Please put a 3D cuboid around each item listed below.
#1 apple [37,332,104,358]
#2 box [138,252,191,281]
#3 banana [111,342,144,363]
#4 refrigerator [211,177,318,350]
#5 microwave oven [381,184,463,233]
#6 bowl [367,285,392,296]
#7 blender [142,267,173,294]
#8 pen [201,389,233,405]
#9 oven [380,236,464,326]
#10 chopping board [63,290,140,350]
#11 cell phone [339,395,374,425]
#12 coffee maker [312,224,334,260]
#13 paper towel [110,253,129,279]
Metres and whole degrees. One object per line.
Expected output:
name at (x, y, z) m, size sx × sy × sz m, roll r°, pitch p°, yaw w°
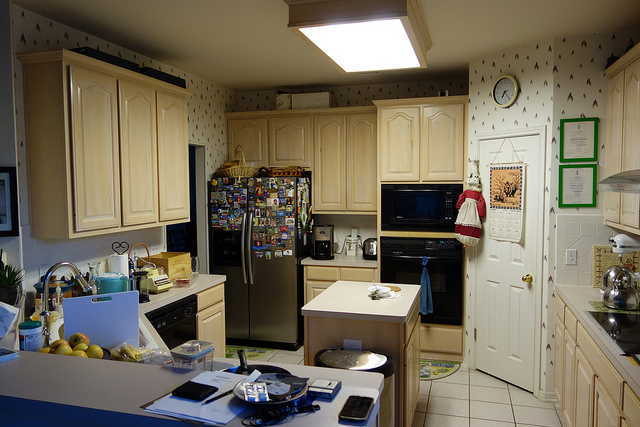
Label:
apple at (-1.425, 0.772, 2.568) m, size 0.196 × 0.088 × 0.202 m, roll 5°, pitch 0°, yaw 7°
box at (-1.554, 0.493, 4.463) m, size 0.294 × 0.195 × 0.316 m, roll 2°, pitch 4°, yaw 15°
banana at (-1.130, 0.813, 2.580) m, size 0.099 × 0.045 × 0.129 m, roll 9°, pitch -4°, yaw -8°
refrigerator at (-0.690, 0.596, 5.928) m, size 1.177 × 2.341 × 1.047 m, roll 0°, pitch 2°, yaw 16°
microwave oven at (1.229, -0.065, 5.563) m, size 0.814 × 0.610 × 0.741 m, roll 0°, pitch 3°, yaw 12°
bowl at (0.539, 0.686, 4.017) m, size 0.217 × 0.052 × 0.340 m, roll 1°, pitch 5°, yaw 11°
blender at (-1.570, 0.616, 4.166) m, size 0.281 × 0.238 × 0.223 m, roll 3°, pitch 4°, yaw 26°
pen at (-0.515, 0.904, 2.178) m, size 0.019 × 0.021 × 0.175 m, roll 8°, pitch 17°, yaw 40°
oven at (1.293, 0.725, 5.557) m, size 0.969 × 0.966 × 0.802 m, roll 3°, pitch 6°, yaw 13°
chopping board at (-1.337, 0.657, 2.696) m, size 0.416 × 0.345 × 0.150 m, roll -3°, pitch 6°, yaw -26°
cell phone at (0.175, 0.957, 2.160) m, size 0.128 × 0.062 × 0.181 m, roll 2°, pitch 6°, yaw 23°
coffee maker at (0.036, 0.327, 5.776) m, size 0.280 × 0.461 × 0.329 m, roll -1°, pitch 15°, yaw -2°
paper towel at (-1.841, 0.471, 4.039) m, size 0.156 × 0.215 × 0.226 m, roll -3°, pitch 6°, yaw -25°
